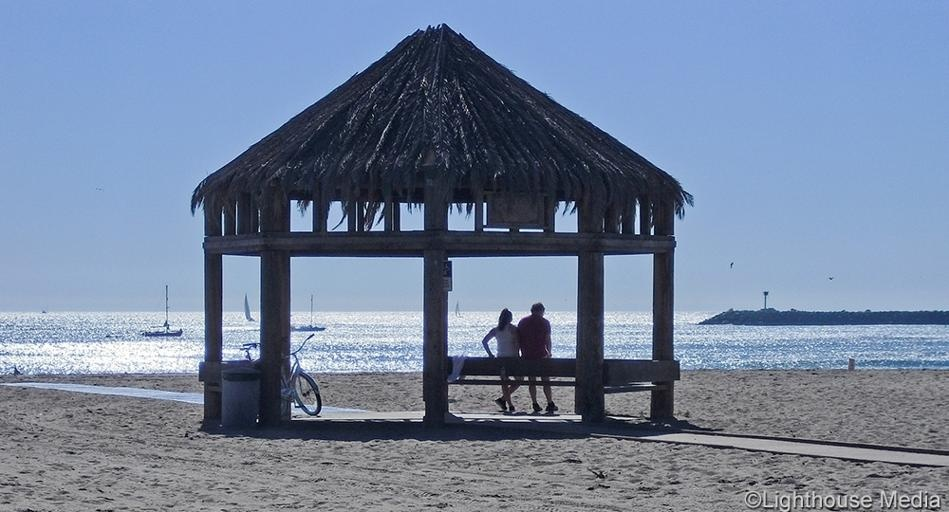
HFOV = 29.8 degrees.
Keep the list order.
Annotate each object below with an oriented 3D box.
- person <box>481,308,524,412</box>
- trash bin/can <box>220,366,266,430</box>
[{"bbox_3d":[0.948,3.634,59.298,1.163,3.336,1.465,-3,-5,30],"label":"person"},{"bbox_3d":[-7.693,4.754,58.626,1.620,1.838,1.264,1,-1,-7],"label":"trash bin/can"}]
